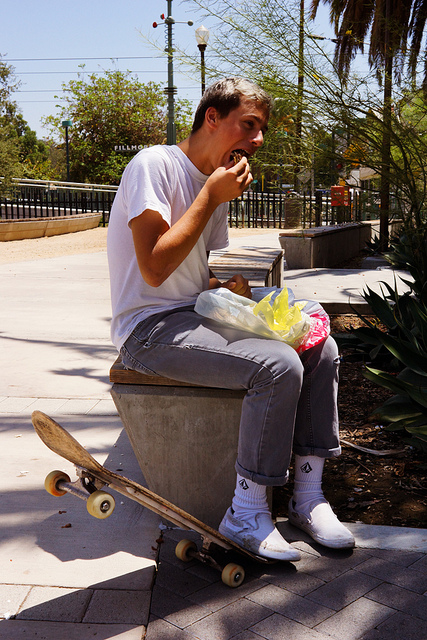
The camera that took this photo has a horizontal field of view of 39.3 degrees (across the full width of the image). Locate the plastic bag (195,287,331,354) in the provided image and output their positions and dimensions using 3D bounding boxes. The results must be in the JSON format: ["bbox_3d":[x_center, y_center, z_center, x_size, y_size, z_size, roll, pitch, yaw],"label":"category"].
[{"bbox_3d":[0.126,0.010,2.042,0.447,0.111,0.387,13,3,-16],"label":"plastic bag"}]

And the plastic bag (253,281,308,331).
[{"bbox_3d":[0.236,-0.049,1.963,0.108,0.057,0.136,0,25,-17],"label":"plastic bag"}]

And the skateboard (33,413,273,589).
[{"bbox_3d":[-0.174,0.609,1.951,0.716,0.122,0.184,36,-8,-14],"label":"skateboard"}]
